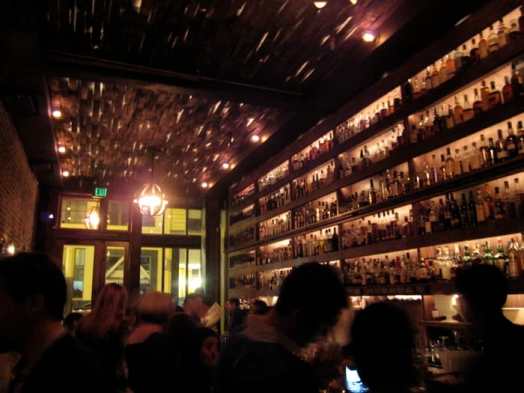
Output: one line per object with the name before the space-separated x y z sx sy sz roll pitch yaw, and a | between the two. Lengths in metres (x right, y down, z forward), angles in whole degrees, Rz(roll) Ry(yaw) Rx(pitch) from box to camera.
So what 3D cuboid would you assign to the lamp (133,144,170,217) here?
lamp | -2.116 -0.212 7.823 0.544 1.583 1.958 2 -16 -14
